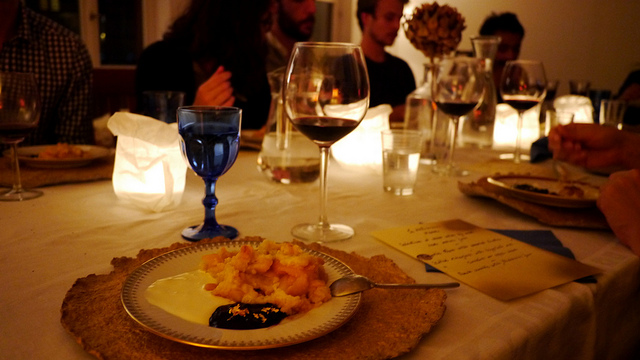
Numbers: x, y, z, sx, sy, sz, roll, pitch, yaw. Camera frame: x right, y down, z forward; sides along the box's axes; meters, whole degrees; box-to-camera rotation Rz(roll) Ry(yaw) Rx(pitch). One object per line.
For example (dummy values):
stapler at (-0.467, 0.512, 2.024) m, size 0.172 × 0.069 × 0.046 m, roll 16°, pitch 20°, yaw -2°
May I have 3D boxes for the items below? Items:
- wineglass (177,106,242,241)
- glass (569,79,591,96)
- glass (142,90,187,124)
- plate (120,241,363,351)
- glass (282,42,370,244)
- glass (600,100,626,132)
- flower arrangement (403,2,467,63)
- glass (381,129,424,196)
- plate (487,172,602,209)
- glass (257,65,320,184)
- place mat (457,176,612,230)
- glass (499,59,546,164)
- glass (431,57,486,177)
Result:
wineglass at (-0.330, -0.019, 1.411) m, size 0.180 × 0.389 × 0.130 m, roll -1°, pitch 13°, yaw -15°
glass at (1.543, -0.543, 2.807) m, size 0.111 × 0.083 × 0.152 m, roll 8°, pitch 12°, yaw 25°
glass at (-0.632, -0.308, 1.990) m, size 0.175 × 0.120 × 0.180 m, roll 10°, pitch 12°, yaw 40°
plate at (-0.200, 0.274, 1.141) m, size 0.484 × 0.193 × 0.368 m, roll 10°, pitch 13°, yaw 35°
glass at (0.019, -0.112, 1.458) m, size 0.273 × 0.525 × 0.248 m, roll 3°, pitch -4°, yaw -17°
glass at (1.487, -0.322, 2.394) m, size 0.110 × 0.154 × 0.102 m, roll 11°, pitch -3°, yaw -6°
flower arrangement at (0.512, -0.667, 2.189) m, size 0.293 × 0.282 × 0.273 m, roll 1°, pitch 16°, yaw 9°
glass at (0.322, -0.071, 1.807) m, size 0.151 × 0.232 × 0.200 m, roll 13°, pitch 16°, yaw 41°
plate at (0.728, 0.024, 1.612) m, size 0.235 × 0.030 × 0.219 m, roll 28°, pitch -24°, yaw -30°
glass at (-0.098, -0.208, 1.902) m, size 0.331 × 0.424 × 0.383 m, roll 6°, pitch 18°, yaw 10°
place mat at (0.812, 0.035, 1.737) m, size 0.511 × 0.077 × 0.528 m, roll -1°, pitch 7°, yaw 11°
glass at (0.941, -0.321, 2.206) m, size 0.217 × 0.444 × 0.207 m, roll 9°, pitch 15°, yaw 37°
glass at (0.575, -0.268, 1.996) m, size 0.239 × 0.485 × 0.223 m, roll -12°, pitch 23°, yaw -27°
